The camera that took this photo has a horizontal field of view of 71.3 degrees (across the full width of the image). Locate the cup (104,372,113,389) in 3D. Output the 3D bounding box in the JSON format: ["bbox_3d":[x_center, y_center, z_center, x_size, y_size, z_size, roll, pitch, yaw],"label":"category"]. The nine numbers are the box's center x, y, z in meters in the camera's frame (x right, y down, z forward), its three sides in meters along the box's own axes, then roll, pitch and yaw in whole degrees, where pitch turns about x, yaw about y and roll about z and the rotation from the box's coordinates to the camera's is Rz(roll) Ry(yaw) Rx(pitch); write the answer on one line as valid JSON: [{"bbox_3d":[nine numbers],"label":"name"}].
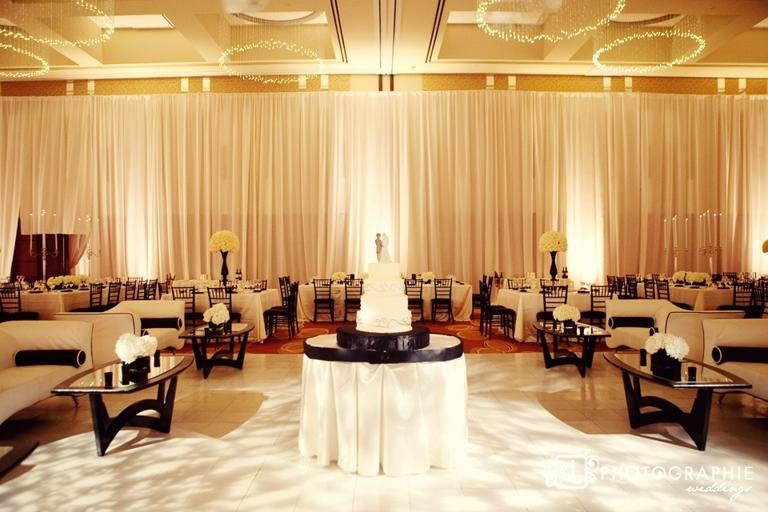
[{"bbox_3d":[-3.542,1.603,6.881,0.098,0.189,0.342,-1,0,-28],"label":"cup"}]

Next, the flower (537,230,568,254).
[{"bbox_3d":[3.817,-0.293,11.927,0.618,0.499,0.631,-1,1,-3],"label":"flower"}]

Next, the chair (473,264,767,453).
[{"bbox_3d":[3.909,1.792,8.995,2.136,1.474,4.481,-1,0,-15],"label":"chair"}]

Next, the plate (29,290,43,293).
[{"bbox_3d":[-7.641,0.784,11.723,0.146,0.036,0.146,3,-2,-24],"label":"plate"}]

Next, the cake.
[{"bbox_3d":[-0.001,0.538,7.026,0.702,0.709,0.359,-1,0,-4],"label":"cake"}]

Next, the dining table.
[{"bbox_3d":[-0.043,1.726,6.889,1.667,1.082,1.682,-1,3,-12],"label":"dining table"}]

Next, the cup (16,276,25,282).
[{"bbox_3d":[-8.990,0.572,13.204,0.117,0.163,0.120,2,-3,0],"label":"cup"}]

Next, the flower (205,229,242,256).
[{"bbox_3d":[-3.593,-0.290,12.132,0.719,0.752,0.729,-1,-1,40],"label":"flower"}]

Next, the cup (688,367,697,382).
[{"bbox_3d":[4.082,1.576,7.062,0.096,0.173,0.093,6,-20,2],"label":"cup"}]

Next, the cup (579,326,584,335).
[{"bbox_3d":[3.410,1.293,9.188,0.108,0.179,0.122,-1,-2,18],"label":"cup"}]
